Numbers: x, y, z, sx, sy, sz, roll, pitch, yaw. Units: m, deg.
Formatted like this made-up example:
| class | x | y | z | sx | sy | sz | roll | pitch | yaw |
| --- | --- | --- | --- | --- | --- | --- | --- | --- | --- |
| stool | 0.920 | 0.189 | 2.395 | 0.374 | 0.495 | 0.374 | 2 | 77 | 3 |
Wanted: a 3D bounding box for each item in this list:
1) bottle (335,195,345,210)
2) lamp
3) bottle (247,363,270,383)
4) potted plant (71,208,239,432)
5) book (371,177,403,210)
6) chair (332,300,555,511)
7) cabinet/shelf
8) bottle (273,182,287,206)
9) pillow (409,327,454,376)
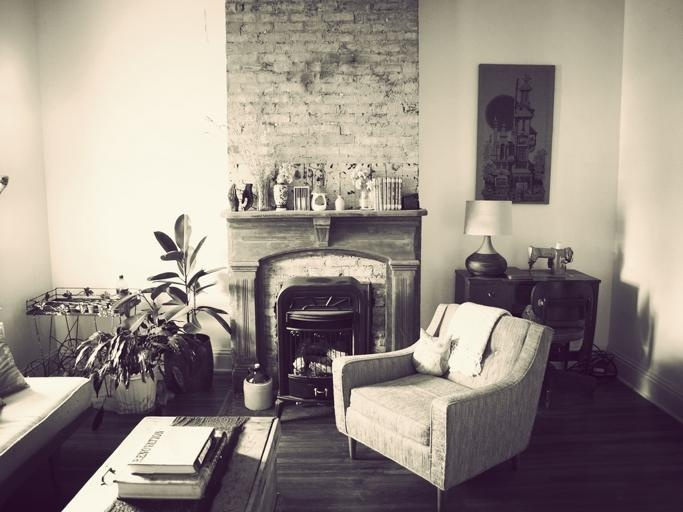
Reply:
| class | x | y | z | sx | sy | sz | roll | pitch | yaw |
| --- | --- | --- | --- | --- | --- | --- | --- | --- | --- |
| bottle | -0.021 | -0.453 | 4.714 | 0.100 | 0.122 | 0.104 | -1 | 0 | -5 |
| lamp | 1.326 | -0.169 | 5.008 | 0.543 | 0.695 | 0.567 | 2 | 8 | 12 |
| bottle | -0.707 | 0.975 | 4.614 | 0.132 | 0.124 | 0.137 | 0 | 1 | -6 |
| potted plant | -1.628 | 0.471 | 4.684 | 1.285 | 1.592 | 0.944 | -10 | 12 | -42 |
| book | 0.358 | -0.497 | 4.752 | 0.314 | 0.345 | 0.242 | 0 | -1 | 0 |
| chair | 0.702 | 0.957 | 4.084 | 1.338 | 1.400 | 1.241 | -2 | 5 | -38 |
| cabinet/shelf | 1.603 | 0.361 | 4.919 | 1.137 | 1.153 | 0.786 | 0 | 9 | 2 |
| bottle | -0.525 | -0.524 | 4.733 | 0.152 | 0.258 | 0.157 | -1 | 1 | 0 |
| pillow | 0.629 | 0.685 | 3.981 | 0.259 | 0.283 | 0.126 | 7 | -7 | 40 |
